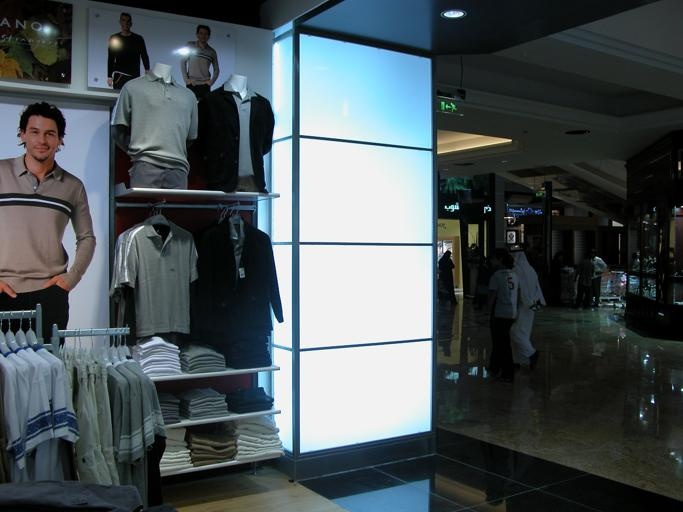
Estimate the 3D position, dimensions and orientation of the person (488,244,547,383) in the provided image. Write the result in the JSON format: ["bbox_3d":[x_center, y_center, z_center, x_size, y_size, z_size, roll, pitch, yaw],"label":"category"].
[{"bbox_3d":[2.432,0.810,7.689,0.908,1.791,0.493,-2,2,-42],"label":"person"}]

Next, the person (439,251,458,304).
[{"bbox_3d":[3.194,0.671,16.489,0.489,1.678,1.486,-1,2,12],"label":"person"}]

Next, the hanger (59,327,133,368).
[{"bbox_3d":[-1.729,0.659,3.864,0.498,0.364,0.228,5,-36,-34],"label":"hanger"}]

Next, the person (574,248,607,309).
[{"bbox_3d":[7.552,0.710,16.482,0.817,1.733,1.565,-1,2,21],"label":"person"}]

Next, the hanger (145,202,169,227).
[{"bbox_3d":[-1.481,-0.342,4.383,0.160,0.190,0.278,-2,2,-19],"label":"hanger"}]

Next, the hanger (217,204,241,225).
[{"bbox_3d":[-0.962,-0.371,4.644,0.153,0.192,0.199,11,-2,5],"label":"hanger"}]

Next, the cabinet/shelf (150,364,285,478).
[{"bbox_3d":[-0.984,1.282,4.502,1.055,0.801,0.611,-2,2,-20],"label":"cabinet/shelf"}]

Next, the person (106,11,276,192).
[{"bbox_3d":[-1.177,-1.231,4.409,1.248,1.417,0.428,-2,2,-40],"label":"person"}]
